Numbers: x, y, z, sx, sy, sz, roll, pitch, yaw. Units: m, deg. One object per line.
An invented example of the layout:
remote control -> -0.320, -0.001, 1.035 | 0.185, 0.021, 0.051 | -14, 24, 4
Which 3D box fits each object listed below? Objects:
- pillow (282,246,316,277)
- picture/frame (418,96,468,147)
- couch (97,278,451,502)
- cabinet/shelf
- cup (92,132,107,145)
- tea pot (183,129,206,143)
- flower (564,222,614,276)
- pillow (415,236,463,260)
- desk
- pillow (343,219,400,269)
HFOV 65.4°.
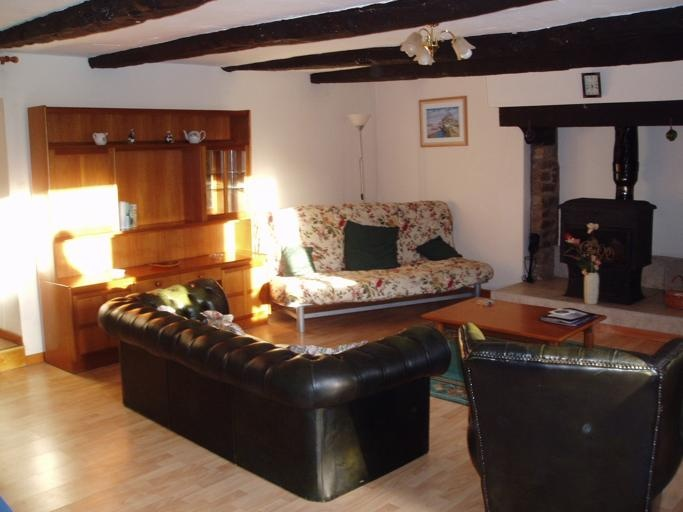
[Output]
pillow -> -0.511, 0.058, 6.180 | 0.361, 0.340, 0.161 | -1, -13, -12
picture/frame -> 1.372, -1.816, 7.055 | 0.711, 0.632, 0.054 | 10, 20, 43
couch -> -0.574, 0.818, 3.761 | 2.406, 0.926, 1.058 | 8, 17, 36
cabinet/shelf -> -1.907, -0.172, 5.035 | 0.748, 2.412, 2.608 | 7, 12, 39
cup -> -2.298, -1.138, 5.151 | 0.169, 0.130, 0.123 | -2, 10, -9
tea pot -> -1.610, -1.312, 5.804 | 0.220, 0.134, 0.119 | -3, 5, -29
flower -> 2.709, -0.047, 5.999 | 0.559, 0.576, 0.597 | 9, 12, 25
pillow -> 1.236, -0.086, 6.819 | 0.357, 0.097, 0.365 | -9, 38, -18
desk -> 2.897, -0.064, 5.905 | 0.931, 1.111, 0.494 | 5, 15, 27
pillow -> 0.350, -0.107, 6.531 | 0.633, 0.595, 0.184 | 4, -7, -9
